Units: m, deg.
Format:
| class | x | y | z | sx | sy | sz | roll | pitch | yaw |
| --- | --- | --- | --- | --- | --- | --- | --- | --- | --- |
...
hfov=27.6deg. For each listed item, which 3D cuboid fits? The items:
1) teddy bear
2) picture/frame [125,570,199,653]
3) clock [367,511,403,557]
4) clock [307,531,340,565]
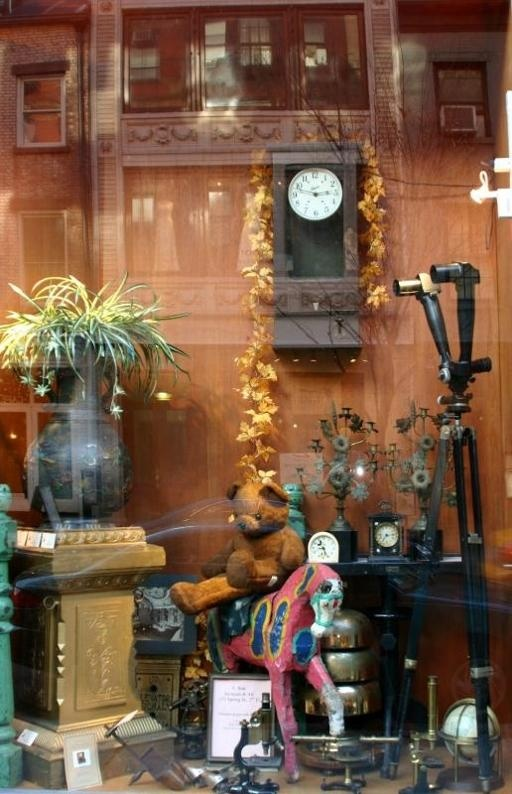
| class | x | y | z | sx | sy | sz | roll | pitch | yaw |
| --- | --- | --- | --- | --- | --- | --- | --- | --- | --- |
| teddy bear | -0.007 | 0.565 | 3.969 | 0.547 | 0.544 | 0.503 | 5 | -11 | -44 |
| picture/frame | -0.380 | 0.820 | 4.047 | 0.362 | 0.326 | 0.034 | 4 | -10 | -32 |
| clock | 0.507 | 0.538 | 4.057 | 0.178 | 0.184 | 0.071 | 0 | -7 | 1 |
| clock | 0.267 | 0.589 | 4.044 | 0.143 | 0.142 | 0.021 | 0 | -12 | 1 |
